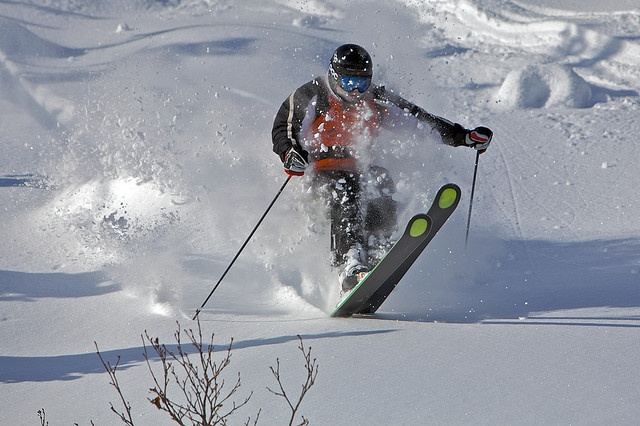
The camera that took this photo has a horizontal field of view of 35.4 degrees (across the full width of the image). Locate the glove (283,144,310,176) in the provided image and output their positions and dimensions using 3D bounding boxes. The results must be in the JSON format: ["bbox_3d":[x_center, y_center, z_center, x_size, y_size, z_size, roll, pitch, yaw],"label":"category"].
[{"bbox_3d":[-0.339,-0.814,16.485,0.447,0.577,0.521,-3,95,-29],"label":"glove"}]

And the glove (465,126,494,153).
[{"bbox_3d":[2.643,-1.303,16.837,0.444,0.578,0.241,19,99,-5],"label":"glove"}]
